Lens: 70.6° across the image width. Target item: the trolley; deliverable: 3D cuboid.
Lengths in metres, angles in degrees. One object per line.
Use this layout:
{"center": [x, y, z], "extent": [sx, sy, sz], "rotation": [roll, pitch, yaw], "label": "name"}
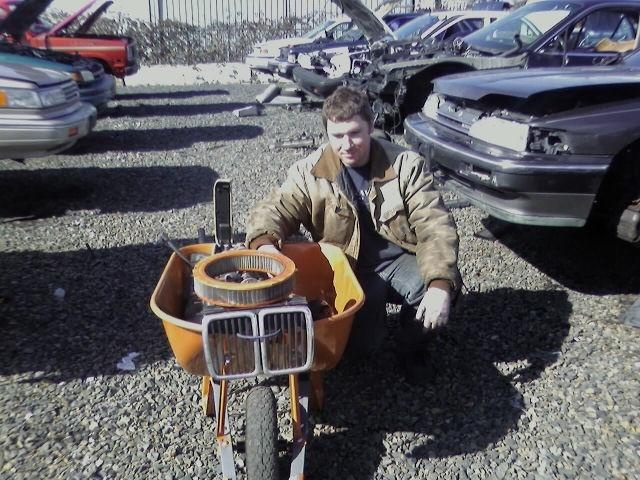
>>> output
{"center": [-0.353, 0.434, 2.635], "extent": [0.831, 0.824, 1.563], "rotation": [0, 17, -1], "label": "trolley"}
